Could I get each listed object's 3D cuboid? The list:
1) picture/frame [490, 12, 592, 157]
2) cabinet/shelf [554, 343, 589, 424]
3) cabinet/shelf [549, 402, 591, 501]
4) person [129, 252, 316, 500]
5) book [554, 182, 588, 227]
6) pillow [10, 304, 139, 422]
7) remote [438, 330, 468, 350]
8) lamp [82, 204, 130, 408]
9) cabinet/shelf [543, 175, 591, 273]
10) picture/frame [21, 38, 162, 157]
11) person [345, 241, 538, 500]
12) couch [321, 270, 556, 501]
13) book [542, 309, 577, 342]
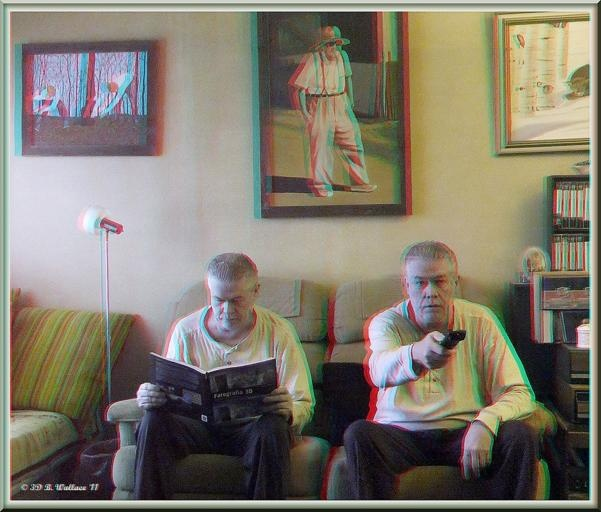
[{"bbox_3d":[0.978,-0.687,3.105,0.473,0.611,0.040,-1,2,1],"label":"picture/frame"},{"bbox_3d":[1.069,0.490,3.012,0.157,0.272,0.191,-2,7,2],"label":"cabinet/shelf"},{"bbox_3d":[1.022,0.765,2.945,0.169,0.181,0.122,21,-20,-39],"label":"cabinet/shelf"},{"bbox_3d":[-0.280,0.516,2.946,0.612,1.049,0.562,2,2,-2],"label":"person"},{"bbox_3d":[1.073,-0.203,3.051,0.143,0.238,0.022,0,-2,2],"label":"book"},{"bbox_3d":[-0.969,0.427,3.098,0.377,0.471,0.118,6,-14,5],"label":"pillow"},{"bbox_3d":[0.555,0.306,2.822,0.069,0.084,0.067,1,5,-9],"label":"remote"},{"bbox_3d":[-0.781,0.181,3.049,0.202,0.871,0.145,-4,-38,-17],"label":"lamp"},{"bbox_3d":[1.080,-0.116,3.076,0.176,0.391,0.097,0,-7,24],"label":"cabinet/shelf"},{"bbox_3d":[-0.839,-0.647,3.184,0.401,0.364,0.020,0,2,4],"label":"picture/frame"},{"bbox_3d":[0.531,0.509,2.970,0.697,1.134,0.721,-2,-8,-5],"label":"person"},{"bbox_3d":[0.404,0.514,3.010,0.632,0.686,0.671,-9,33,-20],"label":"couch"},{"bbox_3d":[1.024,0.280,3.033,0.104,0.127,0.027,3,-6,5],"label":"book"}]
